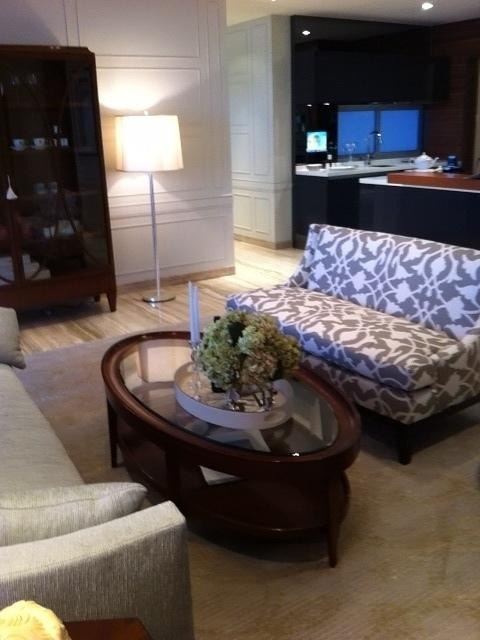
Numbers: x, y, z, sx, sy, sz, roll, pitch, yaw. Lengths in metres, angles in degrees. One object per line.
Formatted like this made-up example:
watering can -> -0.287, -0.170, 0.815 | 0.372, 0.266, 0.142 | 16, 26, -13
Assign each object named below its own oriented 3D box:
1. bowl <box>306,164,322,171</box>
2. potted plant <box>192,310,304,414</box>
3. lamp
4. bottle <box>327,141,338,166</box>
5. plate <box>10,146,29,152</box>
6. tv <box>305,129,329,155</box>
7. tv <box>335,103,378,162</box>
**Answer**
bowl -> 0.911, -1.892, 6.156 | 0.135, 0.055, 0.134 | -3, 18, 1
potted plant -> 0.005, 0.092, 1.743 | 0.326, 0.325, 0.346 | -1, 30, -5
lamp -> -0.763, -0.942, 4.347 | 0.544, 1.619, 0.601 | -7, 21, -12
bottle -> 1.161, -2.130, 6.333 | 0.099, 0.323, 0.284 | 5, 21, 20
plate -> -1.611, -1.240, 3.587 | 0.062, 0.021, 0.064 | -4, 0, 13
tv -> 0.952, -2.211, 6.174 | 0.345, 0.266, 0.034 | -17, 24, -34
tv -> 1.540, -2.552, 6.681 | 0.800, 0.775, 0.055 | -14, 23, -27
